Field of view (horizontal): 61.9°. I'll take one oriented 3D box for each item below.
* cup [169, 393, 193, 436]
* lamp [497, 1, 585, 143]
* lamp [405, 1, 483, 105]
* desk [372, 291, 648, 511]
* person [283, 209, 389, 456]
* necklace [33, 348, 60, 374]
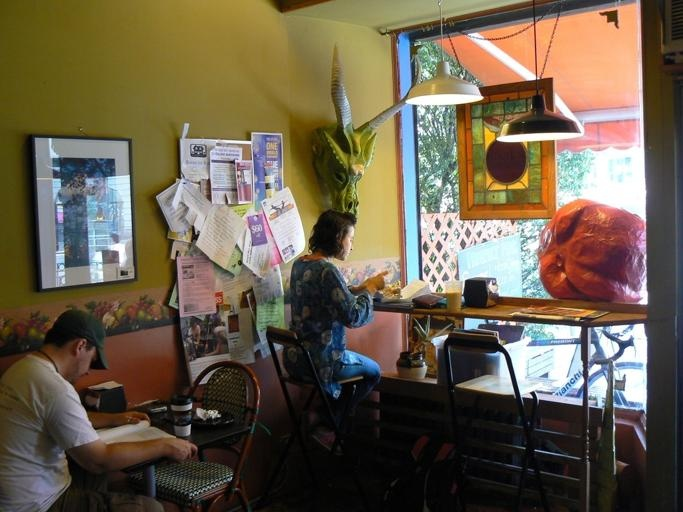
[{"bbox_3d":[-0.821,0.810,2.910,0.116,0.183,0.117,-2,-3,0],"label":"cup"},{"bbox_3d":[1.229,-1.219,3.618,0.488,0.998,1.025,-3,6,16],"label":"lamp"},{"bbox_3d":[0.612,-1.135,3.501,0.414,0.729,0.448,-1,-2,5],"label":"lamp"},{"bbox_3d":[1.182,0.850,3.696,1.445,1.291,0.527,-1,6,34],"label":"desk"},{"bbox_3d":[-0.053,0.483,3.815,0.633,1.518,0.702,10,11,41],"label":"person"},{"bbox_3d":[-1.321,0.468,2.530,0.101,0.029,0.103,36,-14,17],"label":"necklace"}]
